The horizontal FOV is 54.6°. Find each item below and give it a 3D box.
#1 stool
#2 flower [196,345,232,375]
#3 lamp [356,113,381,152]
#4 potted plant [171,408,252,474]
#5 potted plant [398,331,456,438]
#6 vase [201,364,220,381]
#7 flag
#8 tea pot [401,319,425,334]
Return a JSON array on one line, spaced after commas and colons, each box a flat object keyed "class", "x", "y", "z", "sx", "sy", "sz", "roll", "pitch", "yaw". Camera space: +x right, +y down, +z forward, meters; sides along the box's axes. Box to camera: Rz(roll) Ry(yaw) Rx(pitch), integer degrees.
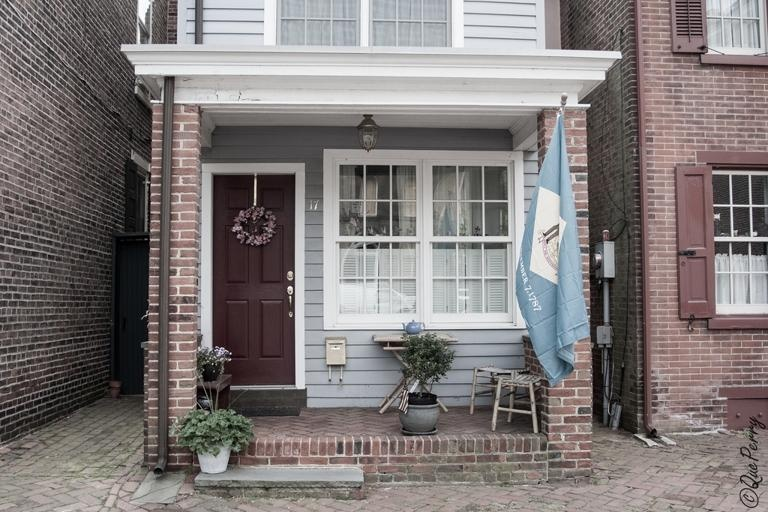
[{"class": "stool", "x": 1.643, "y": 1.821, "z": 10.161, "sx": 0.699, "sy": 0.903, "sz": 0.957, "roll": -1, "pitch": -1, "yaw": 5}, {"class": "flower", "x": -2.244, "y": 1.345, "z": 9.758, "sx": 0.389, "sy": 0.307, "sz": 0.409, "roll": -1, "pitch": -3, "yaw": 12}, {"class": "lamp", "x": -0.210, "y": -1.699, "z": 10.107, "sx": 0.253, "sy": 0.526, "sz": 0.417, "roll": -1, "pitch": -5, "yaw": -3}, {"class": "potted plant", "x": -2.061, "y": 2.117, "z": 8.874, "sx": 0.758, "sy": 0.563, "sz": 0.803, "roll": -2, "pitch": -5, "yaw": 31}, {"class": "potted plant", "x": 0.528, "y": 1.592, "z": 9.435, "sx": 0.665, "sy": 1.252, "sz": 0.364, "roll": -1, "pitch": -5, "yaw": 2}, {"class": "vase", "x": -2.242, "y": 1.483, "z": 9.614, "sx": 0.214, "sy": 0.193, "sz": 0.212, "roll": 4, "pitch": -7, "yaw": -32}, {"class": "flag", "x": 2.004, "y": -0.117, "z": 8.953, "sx": 0.806, "sy": 3.224, "sz": 0.205, "roll": -2, "pitch": -6, "yaw": 15}, {"class": "tea pot", "x": 0.401, "y": 0.985, "z": 10.410, "sx": 0.245, "sy": 0.155, "sz": 0.167, "roll": 3, "pitch": -4, "yaw": 2}]
